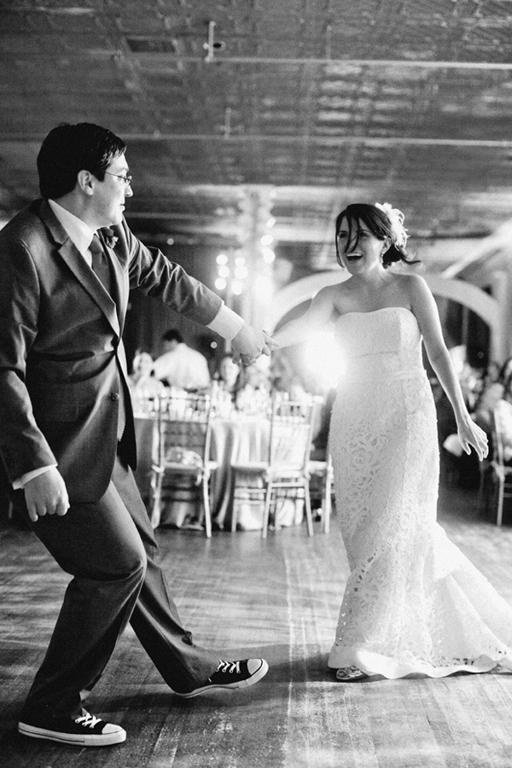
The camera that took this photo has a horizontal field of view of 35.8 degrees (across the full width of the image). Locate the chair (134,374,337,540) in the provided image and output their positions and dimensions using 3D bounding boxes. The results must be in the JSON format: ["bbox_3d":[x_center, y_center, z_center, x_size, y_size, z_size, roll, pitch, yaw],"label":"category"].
[{"bbox_3d":[-0.167,0.542,6.110,1.235,0.789,1.239,-2,-3,23],"label":"chair"}]

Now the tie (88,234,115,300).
[{"bbox_3d":[-0.385,-0.297,1.968,0.039,0.178,0.048,-12,-3,2],"label":"tie"}]

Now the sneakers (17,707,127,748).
[{"bbox_3d":[-0.456,0.888,2.044,0.292,0.107,0.102,2,-4,-8],"label":"sneakers"}]
